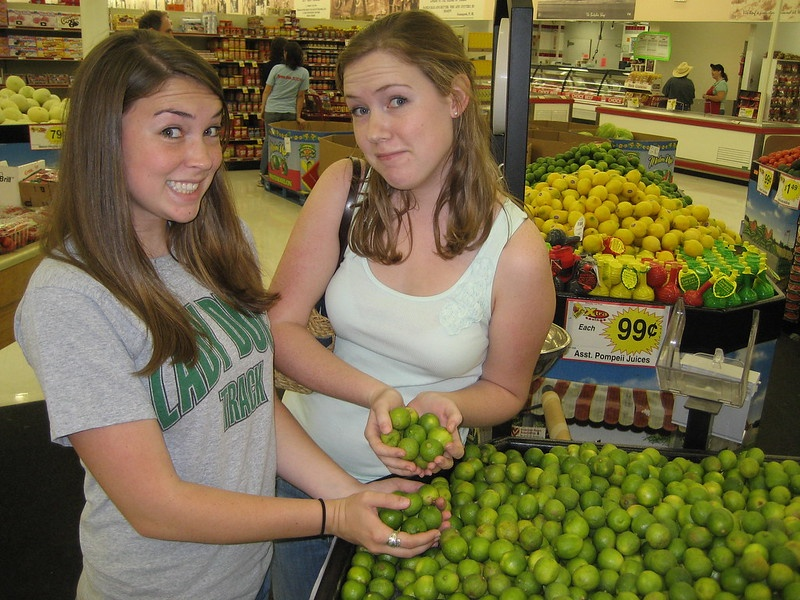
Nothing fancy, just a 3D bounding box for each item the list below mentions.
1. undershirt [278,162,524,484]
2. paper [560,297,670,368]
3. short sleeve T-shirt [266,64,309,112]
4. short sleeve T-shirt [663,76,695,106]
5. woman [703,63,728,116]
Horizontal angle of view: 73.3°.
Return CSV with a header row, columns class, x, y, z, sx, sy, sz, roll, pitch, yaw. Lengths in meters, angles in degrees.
class,x,y,z,sx,sy,sz,roll,pitch,yaw
undershirt,0.009,0.069,1.551,0.677,0.701,0.395,27,21,19
paper,1.228,0.160,3.033,0.386,0.263,0.041,3,13,6
short sleeve T-shirt,-2.004,-3.745,9.426,0.765,0.906,0.499,8,34,-13
short sleeve T-shirt,6.194,-4.661,11.976,0.608,0.712,0.493,9,19,21
woman,6.757,-4.565,11.499,0.388,1.048,1.097,11,19,26
